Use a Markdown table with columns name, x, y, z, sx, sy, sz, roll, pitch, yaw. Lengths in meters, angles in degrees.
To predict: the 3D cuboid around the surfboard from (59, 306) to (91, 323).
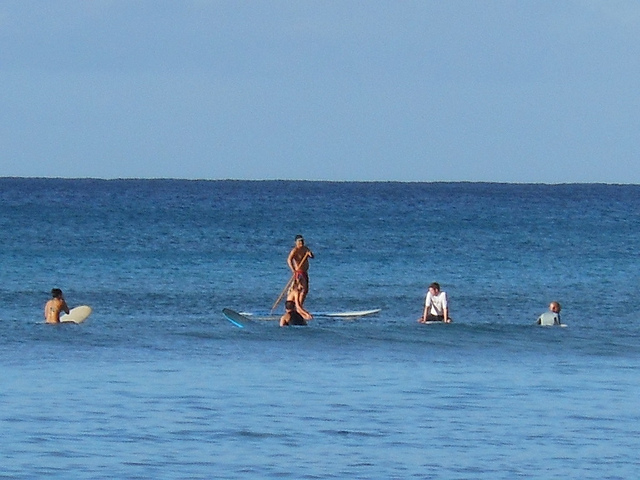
| name | x | y | z | sx | sy | sz | roll | pitch | yaw |
| --- | --- | --- | --- | --- | --- | --- | --- | --- | --- |
| surfboard | -7.437 | 2.187 | 50.681 | 1.498 | 0.356 | 0.218 | -22 | -2 | 44 |

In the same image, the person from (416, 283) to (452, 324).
| name | x | y | z | sx | sy | sz | roll | pitch | yaw |
| --- | --- | --- | --- | --- | --- | --- | --- | --- | --- |
| person | 3.613 | 1.851 | 50.918 | 1.104 | 1.255 | 0.781 | -1 | 9 | 9 |

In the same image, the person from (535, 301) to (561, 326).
| name | x | y | z | sx | sy | sz | roll | pitch | yaw |
| --- | --- | --- | --- | --- | --- | --- | --- | --- | --- |
| person | 7.372 | 2.295 | 53.025 | 0.401 | 1.004 | 0.460 | 9 | -38 | 39 |

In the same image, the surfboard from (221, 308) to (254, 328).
| name | x | y | z | sx | sy | sz | roll | pitch | yaw |
| --- | --- | --- | --- | --- | --- | --- | --- | --- | --- |
| surfboard | -2.594 | 2.359 | 51.619 | 0.193 | 0.380 | 1.437 | 16 | 4 | -39 |

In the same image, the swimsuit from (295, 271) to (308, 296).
| name | x | y | z | sx | sy | sz | roll | pitch | yaw |
| --- | --- | --- | --- | --- | --- | --- | --- | --- | --- |
| swimsuit | -0.554 | 1.164 | 51.159 | 0.299 | 0.512 | 0.977 | -5 | -42 | 9 |

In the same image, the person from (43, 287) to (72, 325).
| name | x | y | z | sx | sy | sz | roll | pitch | yaw |
| --- | --- | --- | --- | --- | --- | --- | --- | --- | --- |
| person | -8.089 | 1.730 | 50.402 | 0.752 | 1.237 | 1.121 | -3 | -41 | 6 |
